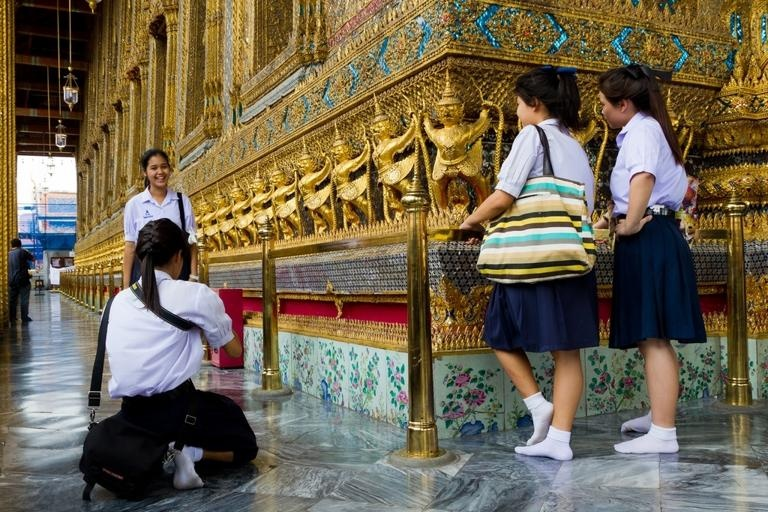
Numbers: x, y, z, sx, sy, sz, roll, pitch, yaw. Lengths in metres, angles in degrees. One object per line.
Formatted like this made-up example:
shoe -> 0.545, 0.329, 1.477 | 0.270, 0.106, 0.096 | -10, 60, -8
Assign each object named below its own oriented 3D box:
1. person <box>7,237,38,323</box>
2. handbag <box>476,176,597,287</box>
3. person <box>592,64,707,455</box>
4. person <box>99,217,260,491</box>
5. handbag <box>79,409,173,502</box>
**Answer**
person -> -7.187, 0.472, 14.003 | 0.443, 1.612, 1.224 | -3, 3, -28
handbag -> 0.852, -0.127, 3.920 | 0.568, 0.542, 0.250 | -1, -12, 22
person -> 1.557, -0.008, 4.104 | 0.549, 2.218, 0.455 | -1, 3, 17
person -> -1.122, 0.519, 3.914 | 0.771, 1.448, 0.342 | -3, 3, -22
handbag -> -1.393, 1.056, 3.828 | 0.357, 0.401, 0.437 | 28, -50, -2
